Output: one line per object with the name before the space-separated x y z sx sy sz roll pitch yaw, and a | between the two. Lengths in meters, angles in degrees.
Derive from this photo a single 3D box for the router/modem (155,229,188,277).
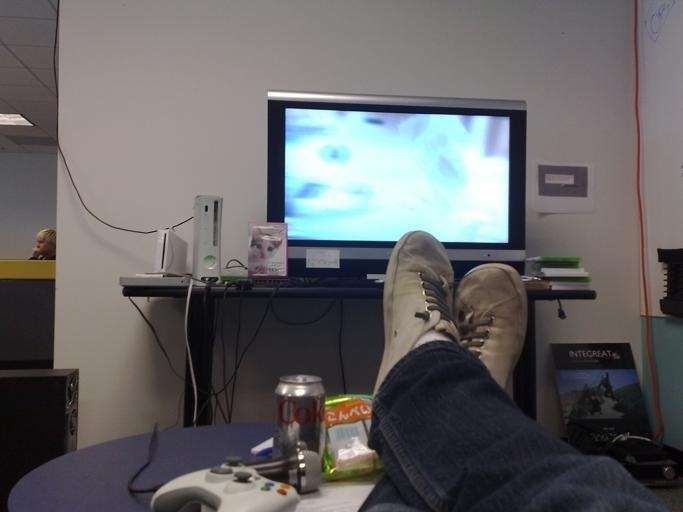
router/modem | -0.583 -0.004 1.976 0.076 0.138 0.159 5 -10 7

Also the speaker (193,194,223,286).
speaker | -0.444 -0.060 1.916 0.092 0.276 0.119 -1 -3 -13

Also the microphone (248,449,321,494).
microphone | -0.129 0.468 1.273 0.140 0.065 0.067 -4 -10 -7

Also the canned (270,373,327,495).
canned | -0.103 0.408 1.373 0.117 0.284 0.106 -6 18 -26

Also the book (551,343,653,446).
book | 0.963 0.514 2.205 0.278 0.397 0.024 -5 18 15

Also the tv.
tv | 0.159 -0.218 2.009 0.629 0.470 0.084 1 -5 -4
